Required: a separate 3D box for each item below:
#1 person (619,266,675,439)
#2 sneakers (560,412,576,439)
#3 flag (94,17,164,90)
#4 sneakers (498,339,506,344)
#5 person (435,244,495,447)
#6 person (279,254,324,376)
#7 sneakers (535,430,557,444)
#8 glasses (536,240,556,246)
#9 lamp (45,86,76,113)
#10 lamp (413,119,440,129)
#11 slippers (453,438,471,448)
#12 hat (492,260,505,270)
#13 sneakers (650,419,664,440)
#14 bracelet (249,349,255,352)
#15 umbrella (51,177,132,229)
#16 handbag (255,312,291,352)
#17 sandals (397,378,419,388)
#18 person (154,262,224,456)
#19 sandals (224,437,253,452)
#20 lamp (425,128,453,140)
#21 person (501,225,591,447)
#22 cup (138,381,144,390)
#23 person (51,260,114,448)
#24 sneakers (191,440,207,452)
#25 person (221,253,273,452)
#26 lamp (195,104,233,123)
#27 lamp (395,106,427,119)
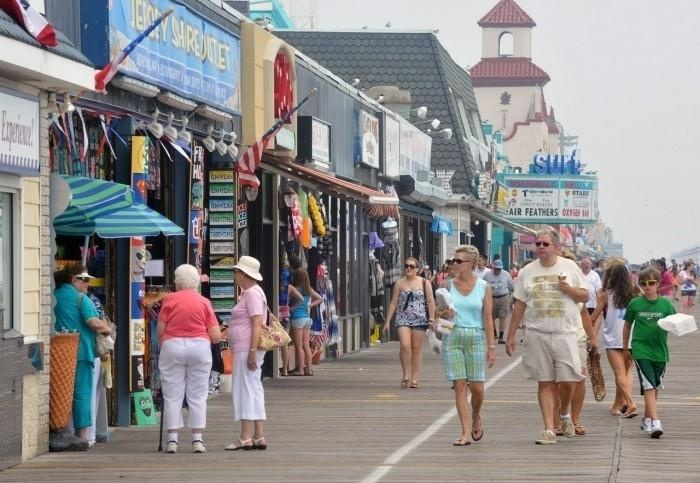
[{"bbox_3d":[3.777,1.438,16.236,0.644,2.152,1.246,-4,-8,11],"label":"person"},{"bbox_3d":[2.655,2.321,15.790,0.114,0.335,0.128,-8,-16,13],"label":"sneakers"},{"bbox_3d":[-2.597,-2.360,15.353,0.323,1.112,0.395,50,-10,-29],"label":"flag"},{"bbox_3d":[3.459,2.366,29.493,0.069,0.130,0.183,8,15,40],"label":"sneakers"},{"bbox_3d":[1.415,1.281,15.547,0.635,2.436,0.369,-3,-7,5],"label":"person"},{"bbox_3d":[-0.868,1.476,22.599,0.615,1.893,0.743,1,-8,-27],"label":"person"},{"bbox_3d":[2.329,2.396,15.341,0.279,0.133,0.123,0,0,1],"label":"sneakers"},{"bbox_3d":[2.342,0.054,15.395,0.221,0.072,0.070,0,-8,-21],"label":"glasses"},{"bbox_3d":[-3.348,-1.651,15.036,0.330,0.286,0.590,-2,-8,-4],"label":"lamp"},{"bbox_3d":[2.263,-3.445,38.259,0.495,0.389,0.875,2,1,31],"label":"lamp"},{"bbox_3d":[1.326,2.450,15.247,0.193,0.083,0.080,3,2,-7],"label":"slippers"},{"bbox_3d":[3.220,0.567,27.998,0.205,0.162,0.280,3,4,0],"label":"hat"},{"bbox_3d":[3.697,2.332,15.627,0.141,0.234,0.239,-4,-8,12],"label":"sneakers"},{"bbox_3d":[-1.132,1.306,14.943,0.074,0.028,0.018,-10,-11,44],"label":"bracelet"},{"bbox_3d":[-3.092,-0.433,15.468,0.949,0.686,0.699,-2,-8,-5],"label":"umbrella"},{"bbox_3d":[-0.919,1.115,15.237,0.416,0.411,0.207,-14,-3,-43],"label":"handbag"},{"bbox_3d":[0.956,2.348,20.720,0.287,0.163,0.414,-3,-8,2],"label":"sandals"},{"bbox_3d":[-1.874,1.412,15.018,0.704,2.214,0.481,-1,-8,-10],"label":"person"},{"bbox_3d":[-1.282,2.434,15.102,0.283,0.135,0.144,2,-2,9],"label":"sandals"},{"bbox_3d":[2.690,-3.183,37.812,0.599,0.235,0.621,4,4,-10],"label":"lamp"},{"bbox_3d":[2.450,1.152,15.651,0.985,2.696,0.925,-5,-8,18],"label":"person"},{"bbox_3d":[-2.714,1.927,16.753,0.122,0.127,0.061,1,1,-10],"label":"cup"},{"bbox_3d":[-3.162,1.342,15.204,0.604,2.045,0.255,0,-8,-14],"label":"person"},{"bbox_3d":[-1.757,2.452,15.050,0.087,0.105,0.225,0,3,1],"label":"sneakers"},{"bbox_3d":[-1.209,1.340,15.138,0.532,2.320,0.591,-1,-7,-7],"label":"person"},{"bbox_3d":[-2.025,-1.882,18.969,0.223,0.179,0.973,-5,-8,17],"label":"lamp"},{"bbox_3d":[1.518,-3.600,35.167,0.718,0.307,0.753,0,-3,-2],"label":"lamp"}]
